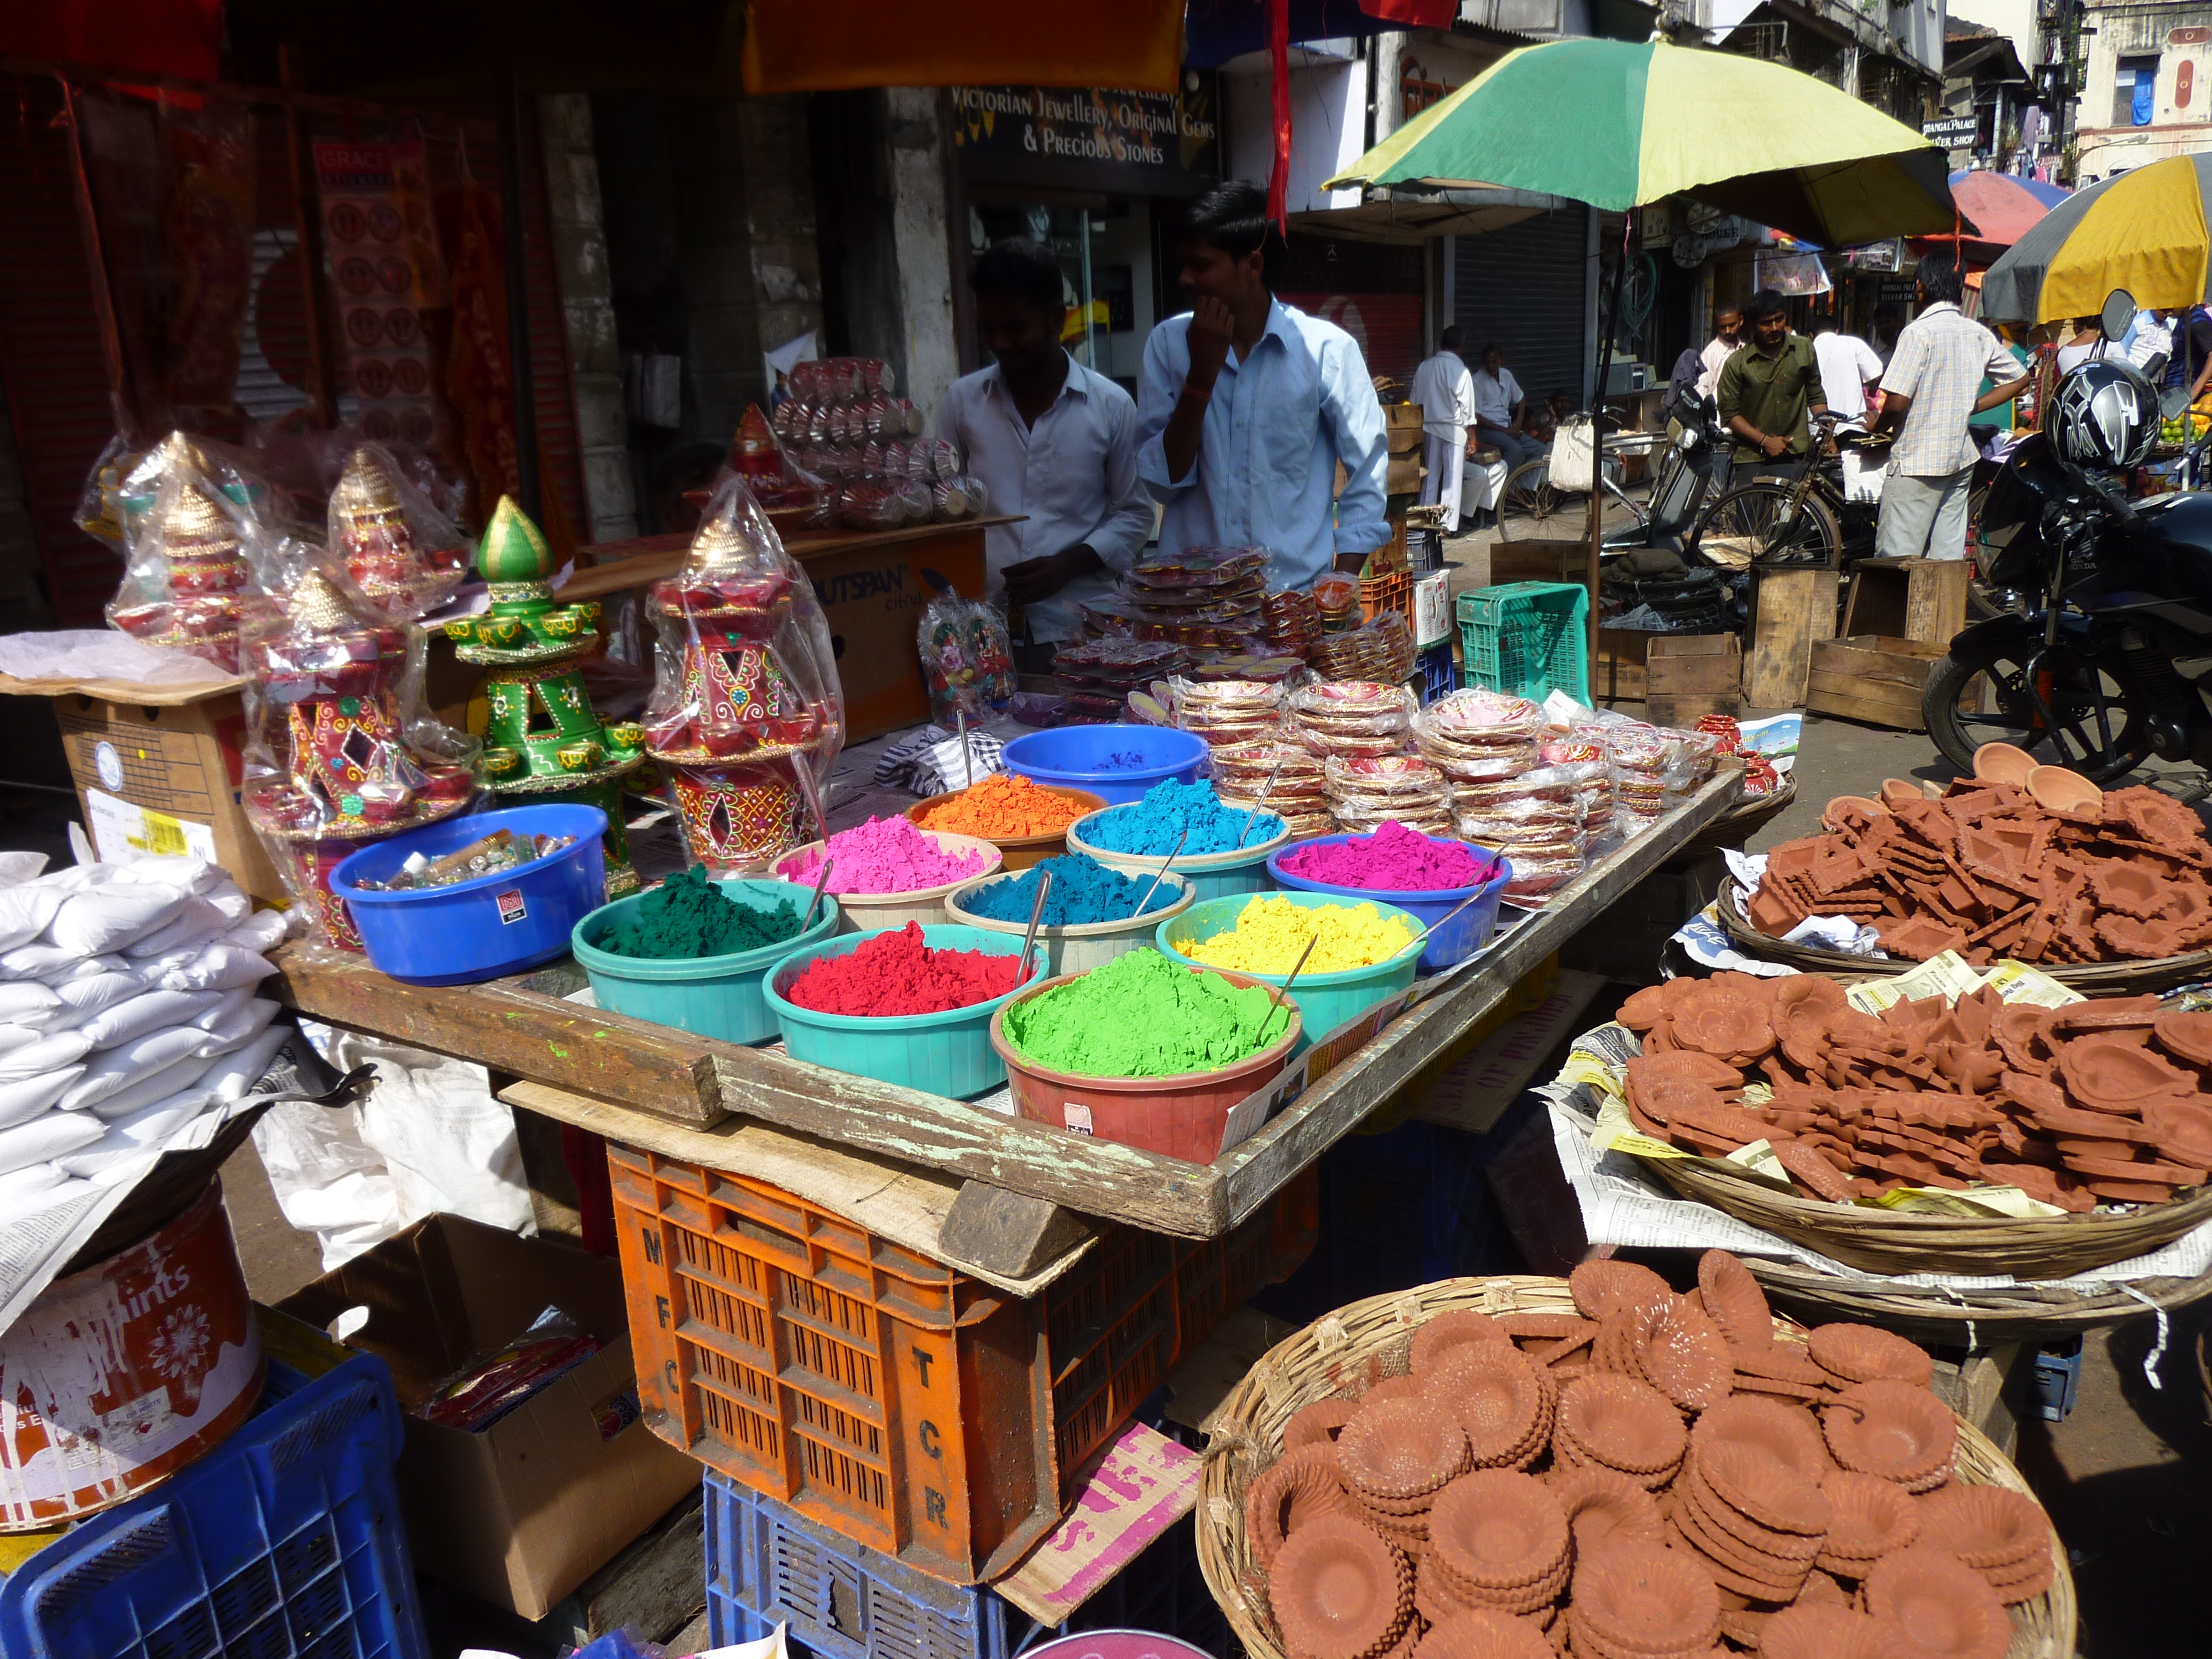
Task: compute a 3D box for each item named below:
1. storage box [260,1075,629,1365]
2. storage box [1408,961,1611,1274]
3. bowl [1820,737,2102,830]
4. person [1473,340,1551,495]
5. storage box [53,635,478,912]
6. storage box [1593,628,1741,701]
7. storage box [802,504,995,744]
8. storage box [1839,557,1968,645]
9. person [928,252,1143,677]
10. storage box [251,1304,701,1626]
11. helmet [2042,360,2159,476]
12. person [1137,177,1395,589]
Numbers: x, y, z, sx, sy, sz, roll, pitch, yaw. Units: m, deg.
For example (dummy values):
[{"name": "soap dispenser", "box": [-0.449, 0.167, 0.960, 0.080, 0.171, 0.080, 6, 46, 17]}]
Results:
[{"name": "storage box", "box": [-1.374, 0.838, 3.313, 0.582, 0.366, 0.585, 9, 17, 29]}, {"name": "storage box", "box": [0.906, 0.615, 3.395, 0.532, 0.144, 0.567, 4, 43, 20]}, {"name": "bowl", "box": [1.932, -0.085, 3.565, 0.495, 0.108, 0.324, -8, 35, 5]}, {"name": "person", "box": [3.742, -3.911, 14.862, 0.584, 1.309, 0.728, -7, 20, 9]}, {"name": "storage box", "box": [-1.606, -0.158, 3.065, 0.574, 0.377, 0.610, 9, 15, 23]}, {"name": "storage box", "box": [2.066, -0.634, 5.877, 0.517, 0.178, 0.534, 6, 18, 26]}, {"name": "storage box", "box": [-0.504, -0.474, 3.689, 0.290, 0.362, 0.510, 11, 28, 27]}, {"name": "storage box", "box": [4.144, -1.180, 8.128, 0.363, 0.541, 0.517, 2, 24, -2]}, {"name": "person", "box": [-0.187, -1.244, 5.013, 0.632, 1.182, 0.716, -7, 18, -6]}, {"name": "storage box", "box": [-1.219, 1.217, 3.082, 0.753, 0.259, 0.583, 11, 25, 34]}, {"name": "helmet", "box": [4.095, -1.714, 6.390, 0.381, 0.459, 0.475, 2, 37, 25]}, {"name": "person", "box": [0.505, -1.352, 4.817, 0.751, 1.171, 0.732, -6, 18, -5]}]
